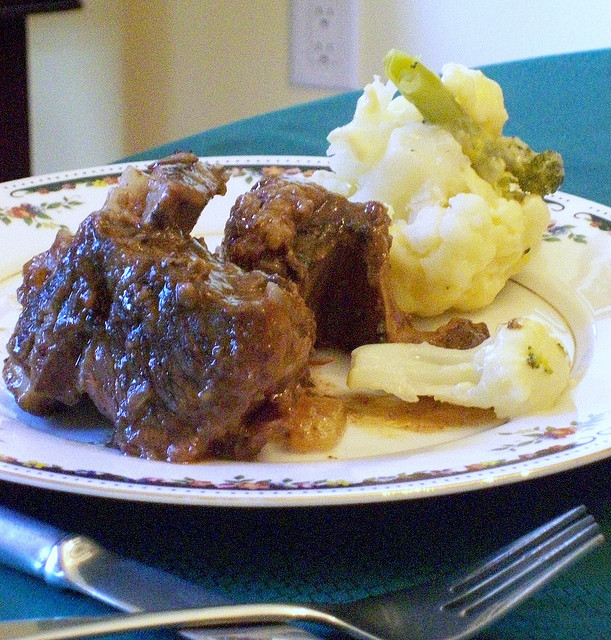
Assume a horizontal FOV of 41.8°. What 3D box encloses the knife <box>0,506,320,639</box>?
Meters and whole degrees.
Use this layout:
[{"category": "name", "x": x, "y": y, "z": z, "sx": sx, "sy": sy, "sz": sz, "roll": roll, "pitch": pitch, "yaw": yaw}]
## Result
[{"category": "knife", "x": -0.193, "y": 0.339, "z": 1.049, "sx": 0.428, "sy": 0.034, "sz": 0.047, "roll": 13, "pitch": 35, "yaw": 18}]
